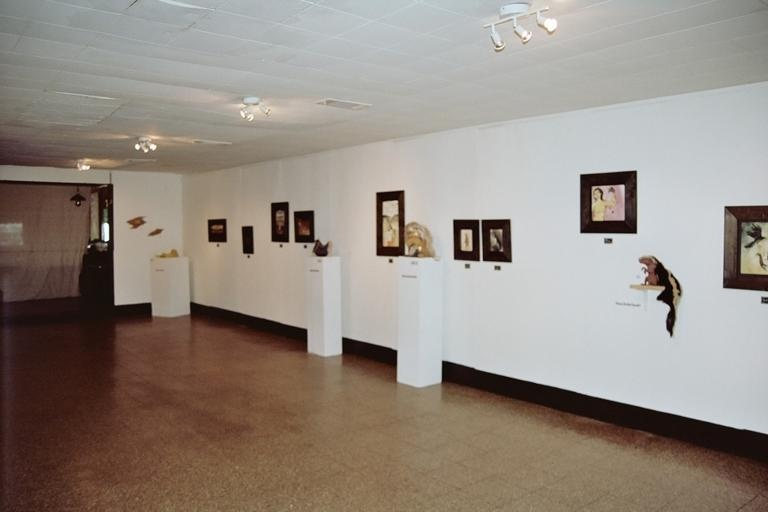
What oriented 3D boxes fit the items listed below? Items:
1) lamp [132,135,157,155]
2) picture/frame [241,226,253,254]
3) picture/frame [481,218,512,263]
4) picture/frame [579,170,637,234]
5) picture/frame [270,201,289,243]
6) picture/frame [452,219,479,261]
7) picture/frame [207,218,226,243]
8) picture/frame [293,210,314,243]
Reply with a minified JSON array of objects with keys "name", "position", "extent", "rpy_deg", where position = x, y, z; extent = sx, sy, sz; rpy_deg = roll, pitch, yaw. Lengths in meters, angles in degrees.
[{"name":"lamp","position":[-4.813,-2.237,10.448],"extent":[0.471,0.326,0.495],"rpy_deg":[4,3,4]},{"name":"picture/frame","position":[-3.729,-0.473,14.261],"extent":[0.087,0.880,0.637],"rpy_deg":[-7,10,-39]},{"name":"picture/frame","position":[1.947,-0.273,8.929],"extent":[0.717,1.000,0.074],"rpy_deg":[1,1,42]},{"name":"picture/frame","position":[3.376,-0.811,7.791],"extent":[0.869,1.028,0.043],"rpy_deg":[5,6,41]},{"name":"picture/frame","position":[-2.609,-0.876,13.131],"extent":[0.095,1.354,0.939],"rpy_deg":[-3,5,-44]},{"name":"picture/frame","position":[1.486,-0.296,9.346],"extent":[0.672,0.896,0.041],"rpy_deg":[5,8,44]},{"name":"picture/frame","position":[-4.914,-0.766,15.376],"extent":[1.041,0.703,0.043],"rpy_deg":[7,11,43]},{"name":"picture/frame","position":[-1.901,-0.729,12.445],"extent":[0.746,0.918,0.096],"rpy_deg":[0,1,44]}]
